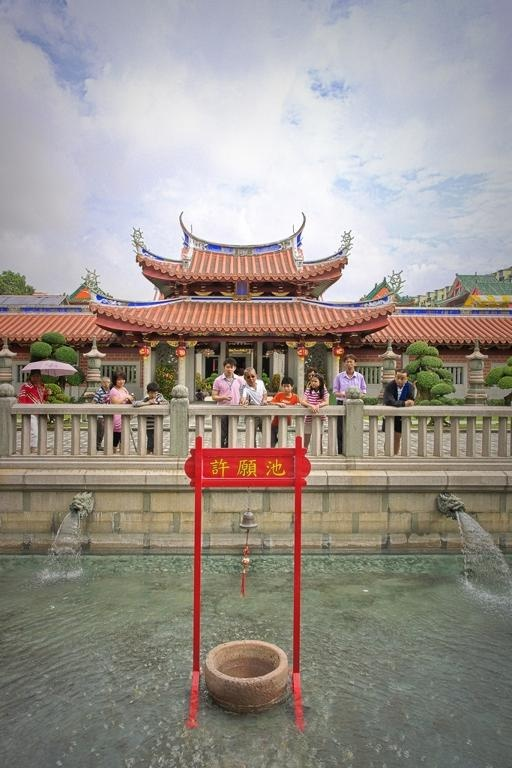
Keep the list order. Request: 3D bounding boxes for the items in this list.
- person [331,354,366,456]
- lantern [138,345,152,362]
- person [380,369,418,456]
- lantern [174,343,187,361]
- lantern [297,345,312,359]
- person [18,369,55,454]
[{"bbox_3d":[1.203,0.299,9.530,0.457,1.269,0.400,2,-2,10],"label":"person"},{"bbox_3d":[-2.947,-0.807,19.490,0.376,0.395,0.344,-3,6,-17],"label":"lantern"},{"bbox_3d":[1.732,0.409,9.024,0.436,1.110,0.379,-2,8,-27],"label":"person"},{"bbox_3d":[-1.923,-0.813,18.992,0.323,0.366,0.338,1,-6,-5],"label":"lantern"},{"bbox_3d":[1.276,-0.822,19.487,0.322,0.350,0.317,-1,-1,24],"label":"lantern"},{"bbox_3d":[-3.068,0.462,10.206,0.381,1.115,3.058,-3,13,-16],"label":"person"}]
